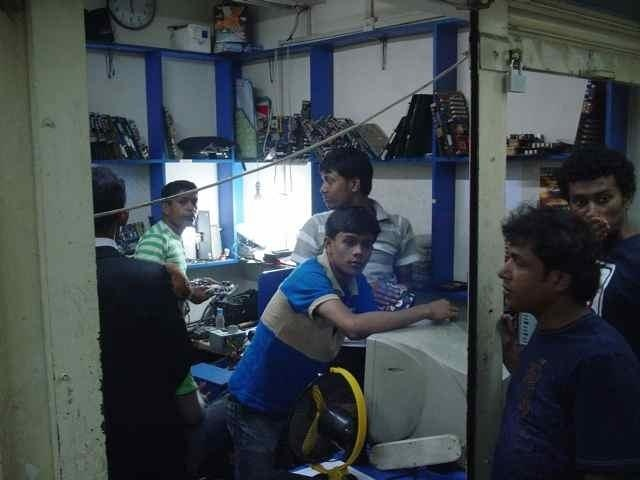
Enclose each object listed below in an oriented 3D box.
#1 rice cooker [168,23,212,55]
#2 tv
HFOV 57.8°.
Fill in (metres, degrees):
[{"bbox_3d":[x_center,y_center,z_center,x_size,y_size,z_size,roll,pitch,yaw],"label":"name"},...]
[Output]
[{"bbox_3d":[-1.257,-1.921,5.615,0.322,0.212,0.314,-12,21,-37],"label":"rice cooker"},{"bbox_3d":[0.486,0.564,2.338,0.500,0.422,0.488,1,5,25],"label":"tv"}]
